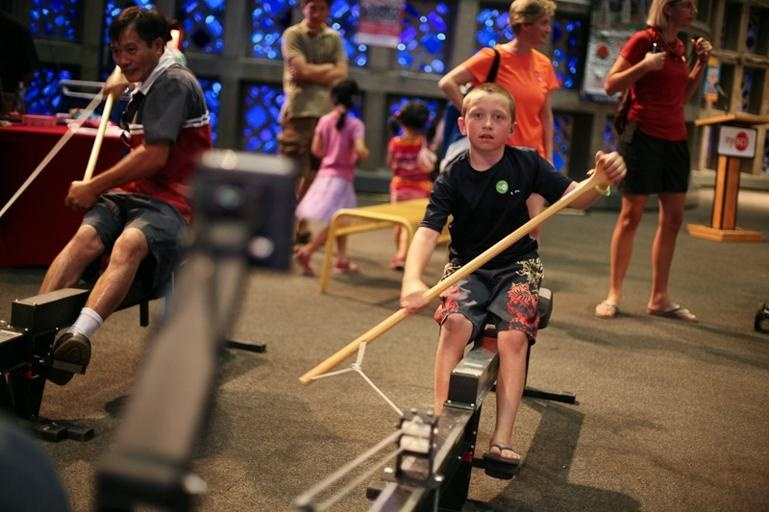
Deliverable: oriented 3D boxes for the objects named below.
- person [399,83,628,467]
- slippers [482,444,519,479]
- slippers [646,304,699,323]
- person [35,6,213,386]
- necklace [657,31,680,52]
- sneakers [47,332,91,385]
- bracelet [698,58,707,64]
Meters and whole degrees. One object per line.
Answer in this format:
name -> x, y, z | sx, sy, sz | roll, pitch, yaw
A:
person -> 0.432, 0.053, 2.484 | 0.679, 1.320, 0.785 | 8, 11, 6
slippers -> 0.372, 0.665, 2.201 | 0.116, 0.102, 0.071 | 9, 11, 13
slippers -> 1.602, 0.322, 3.781 | 0.208, 0.052, 0.078 | 3, 3, 37
person -> -1.073, -0.293, 2.778 | 0.505, 1.423, 0.856 | 9, 11, 13
necklace -> 1.495, -1.123, 3.614 | 0.115, 0.102, 0.062 | -5, 10, -43
sneakers -> -1.124, 0.359, 2.455 | 0.127, 0.191, 0.076 | 14, 16, -10
bracelet -> 1.336, -0.809, 2.873 | 0.031, 0.007, 0.029 | -7, 51, 10
